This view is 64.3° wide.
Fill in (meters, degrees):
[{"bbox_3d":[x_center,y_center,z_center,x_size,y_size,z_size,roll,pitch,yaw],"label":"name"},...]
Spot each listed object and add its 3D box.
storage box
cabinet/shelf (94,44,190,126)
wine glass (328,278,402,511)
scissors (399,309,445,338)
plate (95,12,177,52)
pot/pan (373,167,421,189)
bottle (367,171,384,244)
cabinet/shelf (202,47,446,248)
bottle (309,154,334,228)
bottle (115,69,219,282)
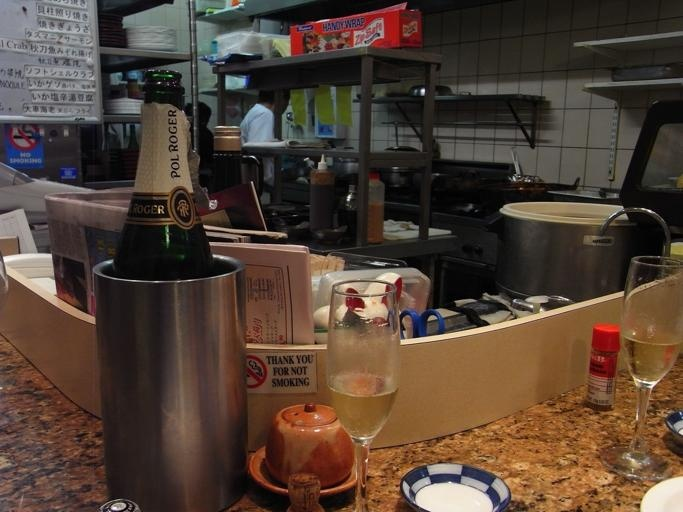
[{"bbox_3d":[0.032,-0.954,2.346,0.644,0.180,0.167,9,18,38],"label":"storage box"},{"bbox_3d":[-1.356,-1.280,3.879,0.662,0.430,0.132,6,-1,-33],"label":"cabinet/shelf"},{"bbox_3d":[0.029,0.165,0.672,0.084,0.269,0.133,0,15,6],"label":"wine glass"},{"bbox_3d":[0.134,0.115,0.927,0.014,0.046,0.079,-7,5,-43],"label":"scissors"},{"bbox_3d":[-1.361,-1.443,3.625,0.323,0.141,0.444,4,5,45],"label":"plate"},{"bbox_3d":[0.386,-0.533,3.668,0.288,0.092,0.203,0,5,1],"label":"pot/pan"},{"bbox_3d":[0.149,-0.203,2.240,0.050,0.287,0.186,4,16,17],"label":"bottle"},{"bbox_3d":[-0.081,-0.657,2.528,0.378,0.679,1.002,-8,40,-43],"label":"cabinet/shelf"},{"bbox_3d":[-0.083,-0.261,2.231,0.102,0.295,0.219,-2,15,-3],"label":"bottle"},{"bbox_3d":[-0.225,-0.096,0.659,0.120,0.251,0.088,-9,17,-26],"label":"bottle"}]
